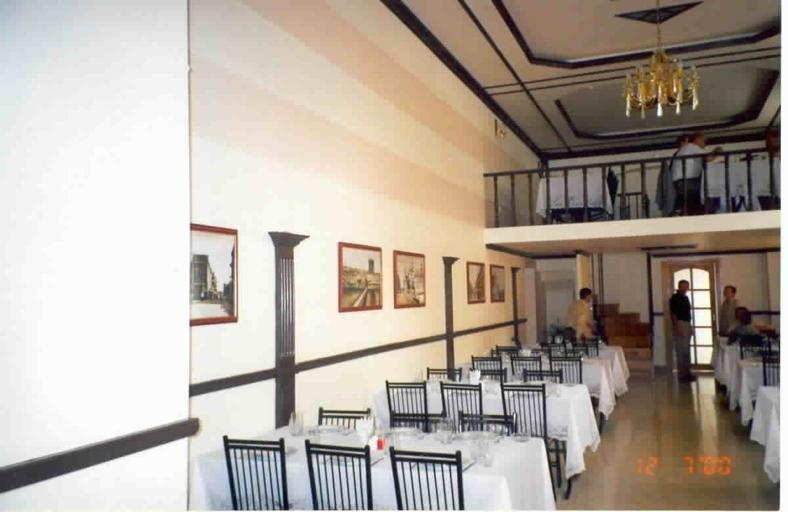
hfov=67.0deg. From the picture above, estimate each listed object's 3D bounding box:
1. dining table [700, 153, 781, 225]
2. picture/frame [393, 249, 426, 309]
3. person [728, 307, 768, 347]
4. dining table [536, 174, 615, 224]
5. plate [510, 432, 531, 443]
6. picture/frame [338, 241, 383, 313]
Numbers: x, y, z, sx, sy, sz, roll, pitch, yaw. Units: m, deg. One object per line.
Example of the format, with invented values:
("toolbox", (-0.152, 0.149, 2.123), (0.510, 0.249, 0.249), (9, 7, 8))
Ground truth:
("dining table", (6.415, -1.315, 10.965), (1.131, 1.154, 1.185), (-2, -4, 32))
("picture/frame", (0.231, 0.385, 9.744), (0.036, 0.715, 0.974), (0, 0, 25))
("person", (7.166, 1.471, 12.076), (0.365, 0.913, 0.539), (4, -18, 8))
("dining table", (3.661, -1.246, 12.230), (1.071, 0.704, 1.115), (1, 9, 8))
("plate", (1.341, 1.935, 6.317), (0.205, 0.071, 0.177), (-1, -4, 15))
("picture/frame", (-0.436, 0.324, 8.507), (0.046, 0.962, 1.275), (-1, 0, -34))
